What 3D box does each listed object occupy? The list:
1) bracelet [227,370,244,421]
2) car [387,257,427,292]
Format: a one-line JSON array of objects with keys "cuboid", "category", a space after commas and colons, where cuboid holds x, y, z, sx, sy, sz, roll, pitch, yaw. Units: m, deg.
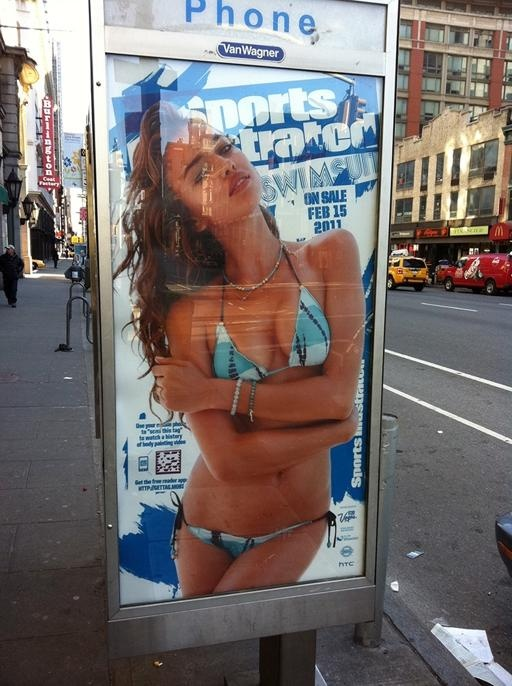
[{"cuboid": [-0.070, 0.190, 2.100, 0.024, 0.107, 0.089, 12, 0, 2], "category": "bracelet"}, {"cuboid": [8.491, -3.896, 33.962, 1.405, 2.103, 2.596, -9, 18, -28], "category": "car"}]
